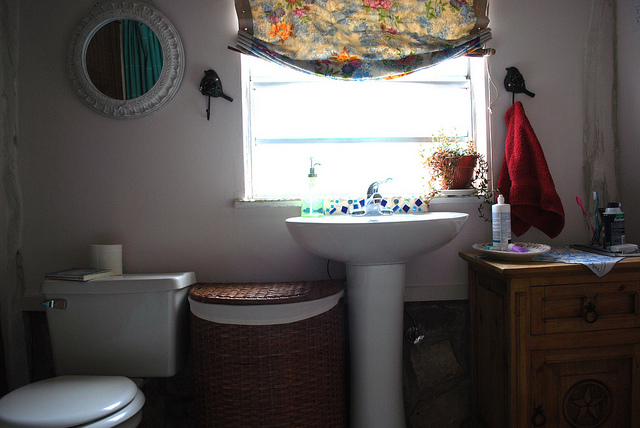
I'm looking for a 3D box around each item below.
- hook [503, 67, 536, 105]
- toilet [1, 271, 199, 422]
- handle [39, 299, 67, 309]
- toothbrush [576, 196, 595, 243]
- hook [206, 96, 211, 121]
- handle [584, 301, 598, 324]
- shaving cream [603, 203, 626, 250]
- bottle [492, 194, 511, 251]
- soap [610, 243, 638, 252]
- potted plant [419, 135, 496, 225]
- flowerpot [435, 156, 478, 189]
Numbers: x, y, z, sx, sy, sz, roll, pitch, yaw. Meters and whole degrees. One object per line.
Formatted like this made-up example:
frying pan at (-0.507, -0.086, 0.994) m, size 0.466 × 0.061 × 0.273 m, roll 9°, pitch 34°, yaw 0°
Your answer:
hook at (1.125, -0.729, 2.756) m, size 0.169 × 0.195 × 0.029 m, roll -3°, pitch 5°, yaw -4°
toilet at (-1.042, 0.632, 2.560) m, size 0.685 × 0.646 × 0.819 m, roll 0°, pitch -7°, yaw 8°
handle at (-1.352, 0.452, 2.469) m, size 0.093 × 0.055 × 0.028 m, roll 2°, pitch 11°, yaw -6°
toothbrush at (1.503, 0.035, 2.769) m, size 0.034 × 0.259 × 0.035 m, roll -16°, pitch -8°, yaw 31°
hook at (-0.615, -0.589, 2.714) m, size 0.012 × 0.130 × 0.025 m, roll 2°, pitch 7°, yaw 42°
handle at (1.307, 0.468, 2.354) m, size 0.068 × 0.104 × 0.012 m, roll -3°, pitch 5°, yaw -7°
shaving cream at (1.513, 0.062, 2.520) m, size 0.140 × 0.240 × 0.143 m, roll -4°, pitch 0°, yaw 44°
bottle at (0.943, 0.062, 2.533) m, size 0.082 × 0.229 × 0.056 m, roll -1°, pitch 5°, yaw 11°
soap at (1.532, 0.165, 2.465) m, size 0.122 × 0.030 × 0.040 m, roll -3°, pitch 5°, yaw -2°
potted plant at (0.756, -0.232, 2.903) m, size 0.423 × 0.593 × 0.560 m, roll 0°, pitch 2°, yaw 6°
flowerpot at (0.764, -0.237, 2.730) m, size 0.185 × 0.145 × 0.191 m, roll -1°, pitch 0°, yaw 11°
